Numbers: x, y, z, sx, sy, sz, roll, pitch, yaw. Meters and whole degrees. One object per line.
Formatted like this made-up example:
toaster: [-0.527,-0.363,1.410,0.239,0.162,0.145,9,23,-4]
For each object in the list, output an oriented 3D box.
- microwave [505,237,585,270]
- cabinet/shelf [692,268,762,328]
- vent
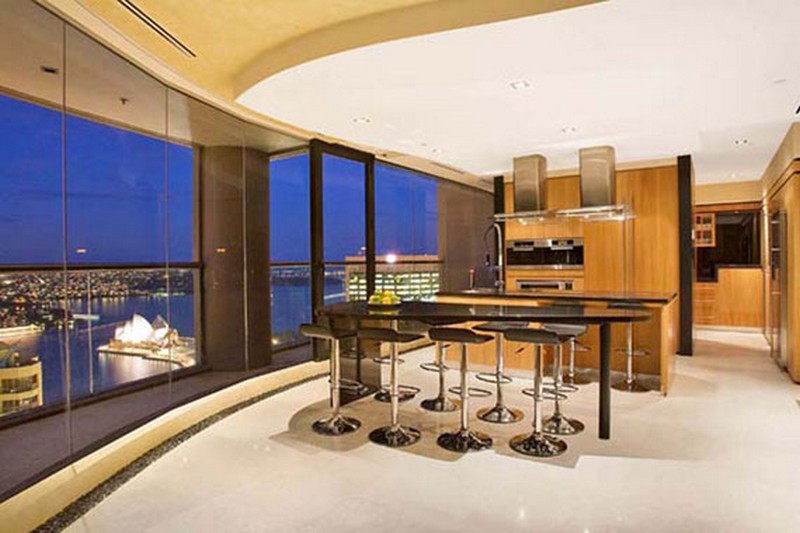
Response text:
microwave: [2.337,-0.248,8.425,1.199,0.505,0.154,3,14,19]
cabinet/shelf: [6.172,0.592,9.765,1.224,1.052,0.411,2,4,39]
vent: [2.243,-1.133,7.178,1.869,0.803,0.915,1,1,41]
